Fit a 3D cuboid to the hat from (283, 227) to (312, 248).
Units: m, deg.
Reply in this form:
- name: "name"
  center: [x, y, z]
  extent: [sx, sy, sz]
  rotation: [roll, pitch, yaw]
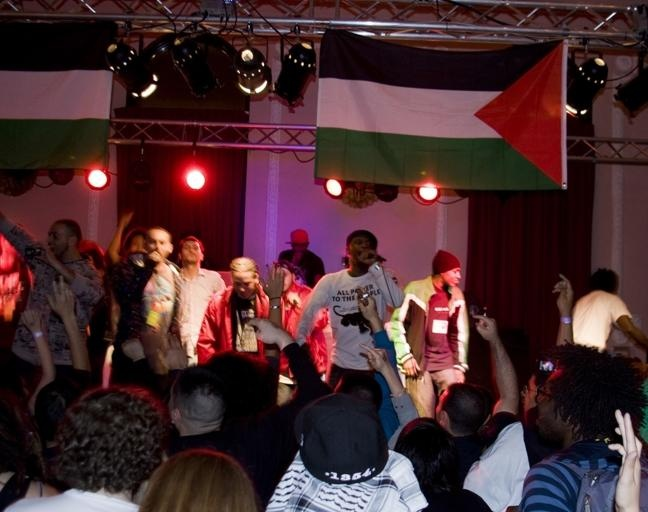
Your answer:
- name: "hat"
  center: [-0.334, -0.269, 8.247]
  extent: [0.191, 0.212, 0.327]
  rotation: [3, -4, 4]

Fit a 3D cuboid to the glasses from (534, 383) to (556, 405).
- name: "glasses"
  center: [0.990, 0.613, 2.600]
  extent: [0.123, 0.050, 0.135]
  rotation: [14, -9, 4]

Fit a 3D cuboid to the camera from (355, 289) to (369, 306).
- name: "camera"
  center: [0.264, 0.282, 4.031]
  extent: [0.068, 0.068, 0.136]
  rotation: [35, 3, -3]

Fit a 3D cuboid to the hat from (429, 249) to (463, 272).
- name: "hat"
  center: [1.258, 0.050, 6.012]
  extent: [0.244, 0.293, 0.232]
  rotation: [1, 6, 38]
